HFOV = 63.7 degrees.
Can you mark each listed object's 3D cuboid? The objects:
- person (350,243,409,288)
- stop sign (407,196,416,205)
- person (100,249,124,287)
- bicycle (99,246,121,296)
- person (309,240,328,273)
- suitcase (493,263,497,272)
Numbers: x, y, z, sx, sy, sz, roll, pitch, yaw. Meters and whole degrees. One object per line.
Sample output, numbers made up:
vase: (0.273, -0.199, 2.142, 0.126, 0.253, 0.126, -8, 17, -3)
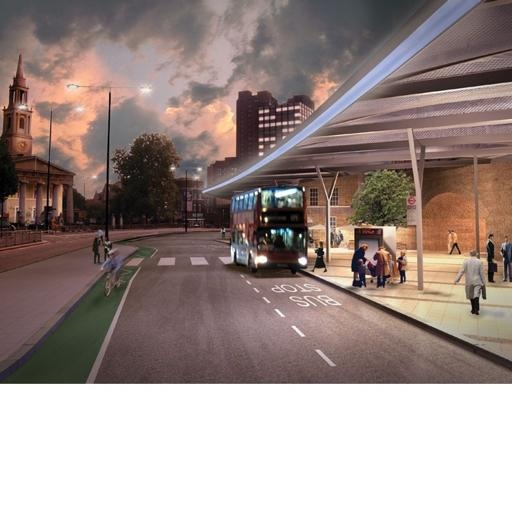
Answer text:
person: (5.087, 0.446, 18.131, 2.283, 1.840, 1.036, -3, 4, -31)
stop sign: (6.514, -2.255, 17.294, 0.337, 0.385, 0.476, 1, 5, 22)
person: (-5.841, 0.552, 16.359, 0.632, 1.174, 1.688, -1, 3, -10)
bicycle: (-5.995, 0.574, 16.600, 0.715, 1.333, 1.923, -1, 2, -8)
person: (4.379, 0.111, 29.099, 1.340, 3.352, 1.023, 1, -5, 6)
suitcase: (11.237, 0.547, 19.322, 0.102, 0.356, 0.422, 2, 5, 41)
